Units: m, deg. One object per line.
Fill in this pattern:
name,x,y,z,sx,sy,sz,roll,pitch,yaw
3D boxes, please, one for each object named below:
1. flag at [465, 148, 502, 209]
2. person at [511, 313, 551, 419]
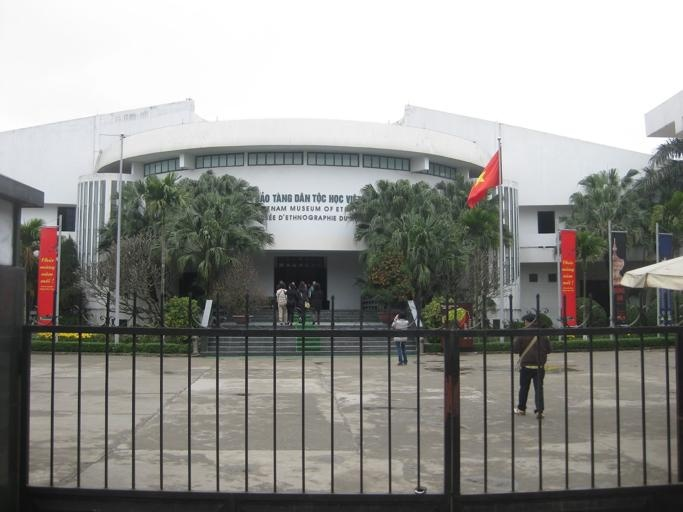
flag,6.559,-3.565,39.235,0.458,3.037,2.942,13,-36,-14
person,3.757,2.082,16.562,0.671,2.098,0.641,0,11,14
